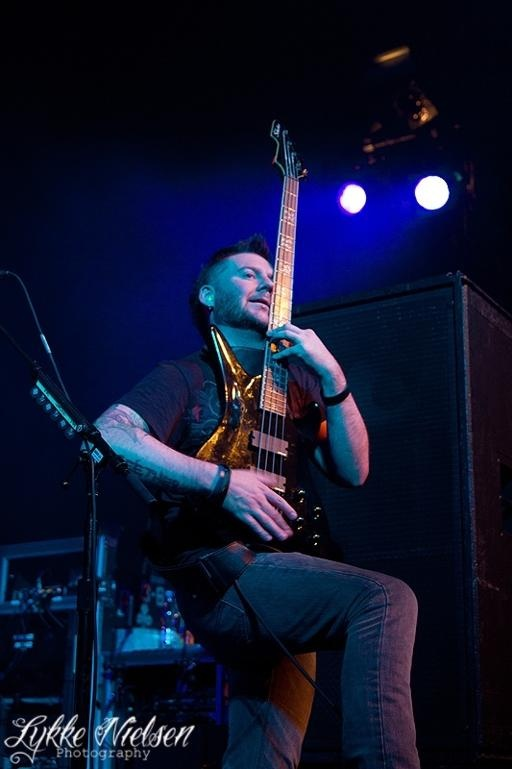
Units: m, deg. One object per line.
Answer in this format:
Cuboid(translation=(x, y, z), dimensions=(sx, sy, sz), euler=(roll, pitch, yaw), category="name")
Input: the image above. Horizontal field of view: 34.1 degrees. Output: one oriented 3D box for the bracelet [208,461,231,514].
Cuboid(translation=(-0.097, 0.298, 2.382), dimensions=(0.039, 0.102, 0.086), euler=(4, -51, 8), category="bracelet")
